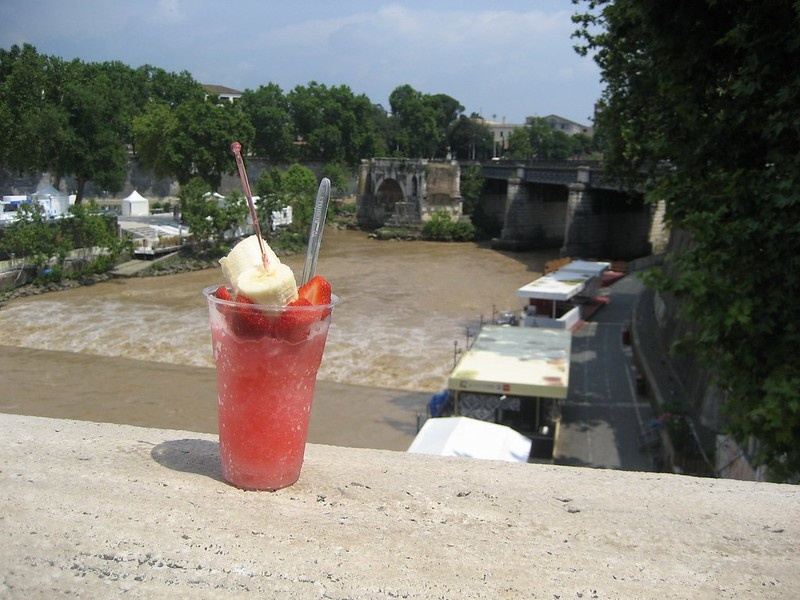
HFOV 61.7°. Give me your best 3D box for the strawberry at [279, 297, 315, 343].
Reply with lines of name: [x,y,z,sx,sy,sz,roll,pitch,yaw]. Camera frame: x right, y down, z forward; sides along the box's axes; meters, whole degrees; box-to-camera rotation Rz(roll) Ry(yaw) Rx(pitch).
strawberry: [-0.493,0.107,3.231,0.180,0.216,0.148,1,2,-18]
